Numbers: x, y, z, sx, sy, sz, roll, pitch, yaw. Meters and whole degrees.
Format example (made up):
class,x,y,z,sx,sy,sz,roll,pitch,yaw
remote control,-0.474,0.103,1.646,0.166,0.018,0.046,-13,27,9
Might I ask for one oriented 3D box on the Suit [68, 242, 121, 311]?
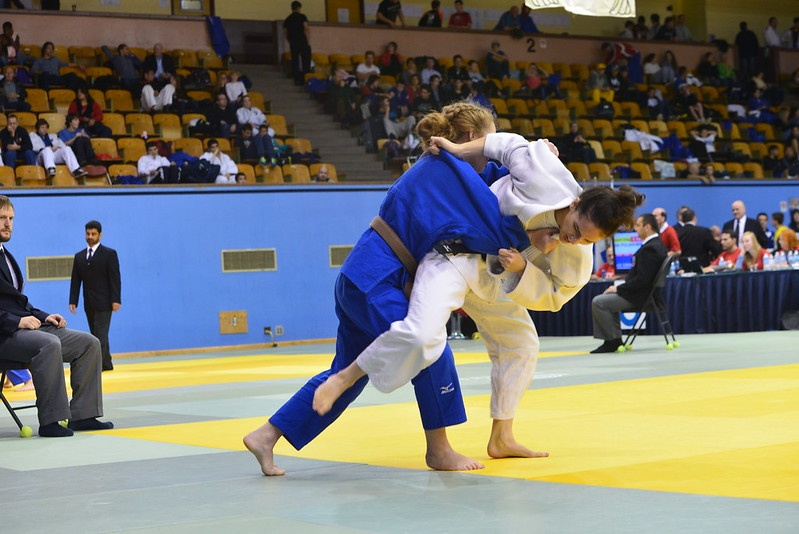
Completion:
class,x,y,z,sx,sy,sz,roll,pitch,yaw
Suit,-4.756,0.177,14.568,0.826,1.014,0.473,2,7,4

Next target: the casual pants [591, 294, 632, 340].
class,x,y,z,sx,sy,sz,roll,pitch,yaw
casual pants,3.041,0.746,13.557,0.696,0.775,0.639,1,-4,11

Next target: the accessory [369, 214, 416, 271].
class,x,y,z,sx,sy,sz,roll,pitch,yaw
accessory,-0.038,-0.160,6.660,0.102,0.408,0.300,-44,8,-1
